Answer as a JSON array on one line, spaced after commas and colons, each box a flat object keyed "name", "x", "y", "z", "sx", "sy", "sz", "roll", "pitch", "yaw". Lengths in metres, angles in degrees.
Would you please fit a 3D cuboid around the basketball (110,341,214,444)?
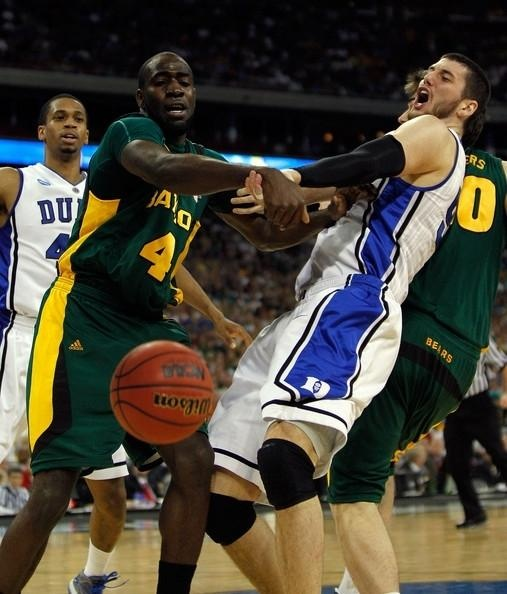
[{"name": "basketball", "x": -0.270, "y": 0.290, "z": 2.145, "sx": 0.329, "sy": 0.281, "sz": 0.278, "roll": 1, "pitch": -15, "yaw": 0}]
